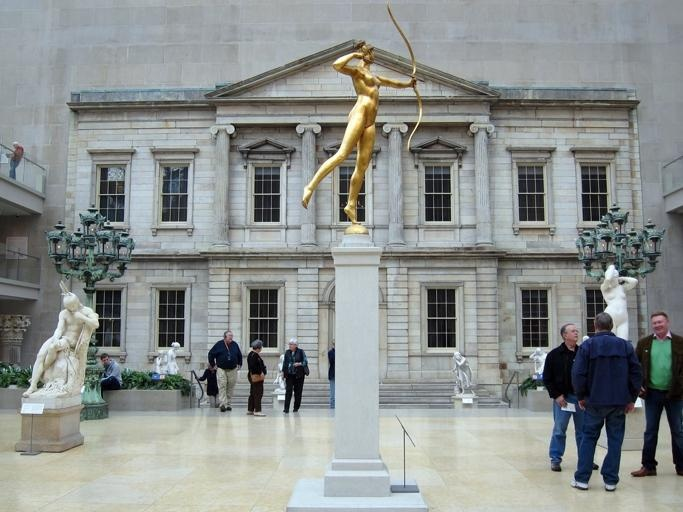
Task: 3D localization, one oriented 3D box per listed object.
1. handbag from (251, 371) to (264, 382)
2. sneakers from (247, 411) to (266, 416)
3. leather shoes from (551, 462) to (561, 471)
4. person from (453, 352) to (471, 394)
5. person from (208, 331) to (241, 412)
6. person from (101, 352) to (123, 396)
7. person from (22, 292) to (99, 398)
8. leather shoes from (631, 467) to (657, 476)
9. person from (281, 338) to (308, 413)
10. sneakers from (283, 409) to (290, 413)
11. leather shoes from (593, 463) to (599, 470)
[{"bbox_3d":[-2.505,3.659,27.873,0.409,0.262,0.268,2,-7,-17],"label":"handbag"},{"bbox_3d":[-2.544,4.731,27.840,0.513,0.206,0.172,-2,-5,11],"label":"sneakers"},{"bbox_3d":[4.835,4.733,20.738,0.110,0.197,0.295,1,-20,8],"label":"leather shoes"},{"bbox_3d":[4.239,4.050,31.868,0.583,1.407,1.416,-1,-7,7],"label":"person"},{"bbox_3d":[-3.536,3.567,28.763,0.927,2.461,1.140,-3,-7,43],"label":"person"},{"bbox_3d":[-7.490,3.740,29.347,0.967,1.237,0.965,-1,-11,-2],"label":"person"},{"bbox_3d":[-6.868,2.190,23.008,1.475,2.541,0.622,2,-8,-18],"label":"person"},{"bbox_3d":[6.678,4.743,20.389,0.614,0.232,0.202,1,-13,9],"label":"leather shoes"},{"bbox_3d":[-1.440,3.738,28.983,0.802,2.331,1.396,1,-7,-4],"label":"person"},{"bbox_3d":[-1.680,4.819,28.711,0.127,0.111,0.122,2,-5,-2],"label":"sneakers"},{"bbox_3d":[5.744,4.749,20.815,0.087,0.168,0.252,0,-18,9],"label":"leather shoes"}]
